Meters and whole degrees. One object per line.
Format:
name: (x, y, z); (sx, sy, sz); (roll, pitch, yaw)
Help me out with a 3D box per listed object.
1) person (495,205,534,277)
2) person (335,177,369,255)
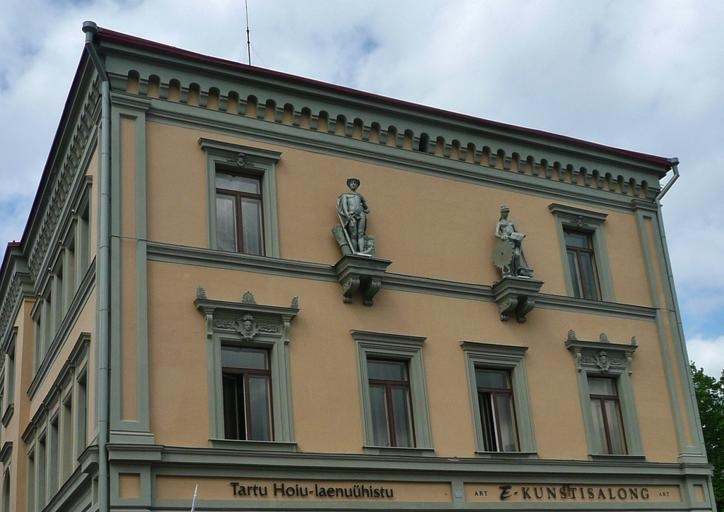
person: (4.010, -0.285, 33.534); (0.863, 2.216, 0.550); (-8, -30, 7)
person: (-0.205, -0.768, 31.666); (0.881, 1.784, 0.439); (-3, -30, -2)
